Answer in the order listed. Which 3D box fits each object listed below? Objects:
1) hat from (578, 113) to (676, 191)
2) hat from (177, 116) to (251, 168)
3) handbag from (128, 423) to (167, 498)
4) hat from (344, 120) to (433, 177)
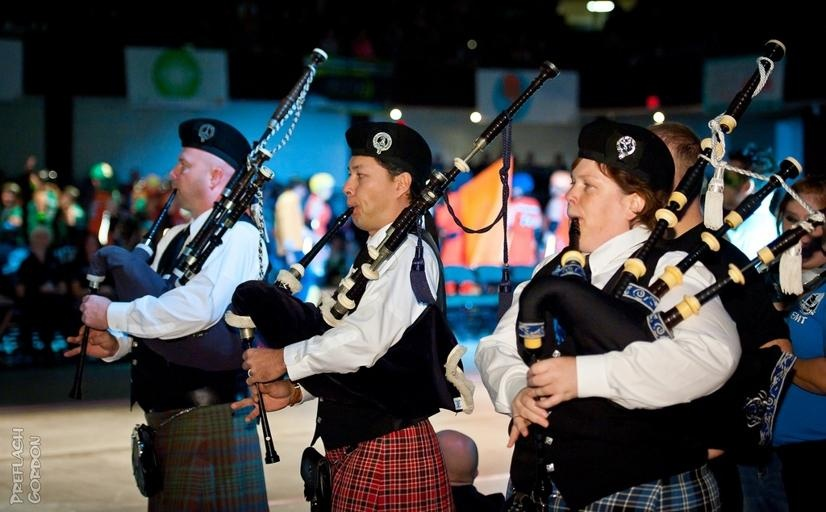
[{"bbox_3d":[1.337,-0.635,5.623,0.558,0.276,0.404,24,6,-13],"label":"hat"},{"bbox_3d":[-1.439,-0.843,6.702,0.376,0.184,0.496,28,4,39],"label":"hat"},{"bbox_3d":[-1.837,1.435,6.388,0.183,0.516,0.166,-1,3,-31],"label":"handbag"},{"bbox_3d":[-0.243,-0.713,6.322,0.452,0.295,0.612,-16,-19,41],"label":"hat"}]
